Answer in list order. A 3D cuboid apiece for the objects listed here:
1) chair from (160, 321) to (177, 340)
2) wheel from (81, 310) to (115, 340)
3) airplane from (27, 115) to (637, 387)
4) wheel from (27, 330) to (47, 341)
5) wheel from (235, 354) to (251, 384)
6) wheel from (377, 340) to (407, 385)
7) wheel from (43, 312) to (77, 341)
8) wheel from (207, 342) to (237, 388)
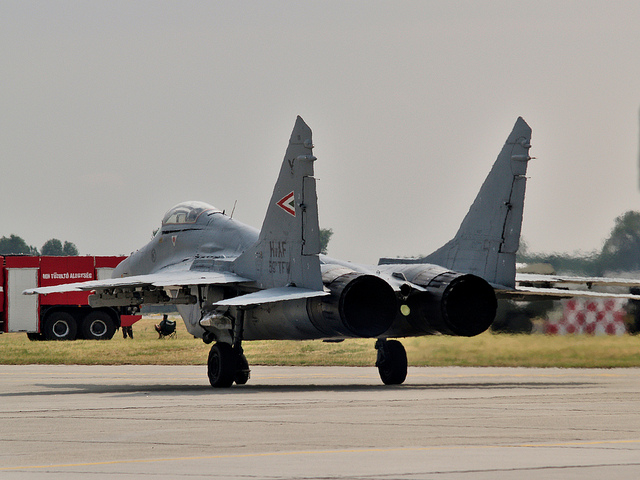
[{"bbox_3d":[-5.260,3.113,40.781,0.575,0.730,0.658,4,-7,-20],"label":"chair"},{"bbox_3d":[-7.605,2.954,39.941,1.171,1.122,0.439,2,-3,9],"label":"wheel"},{"bbox_3d":[-0.494,0.688,24.014,7.997,3.245,7.404,1,1,-39],"label":"airplane"},{"bbox_3d":[-9.780,3.274,40.048,0.425,0.413,0.112,0,-5,37],"label":"wheel"},{"bbox_3d":[-1.531,2.556,23.169,0.172,0.512,0.414,5,-1,7],"label":"wheel"},{"bbox_3d":[1.448,2.443,23.512,0.360,0.875,0.893,2,3,-20],"label":"wheel"},{"bbox_3d":[-8.923,2.915,39.669,1.002,0.956,0.343,-1,-2,-6],"label":"wheel"},{"bbox_3d":[-1.957,2.435,22.972,0.599,0.898,0.407,-1,-12,5],"label":"wheel"}]
